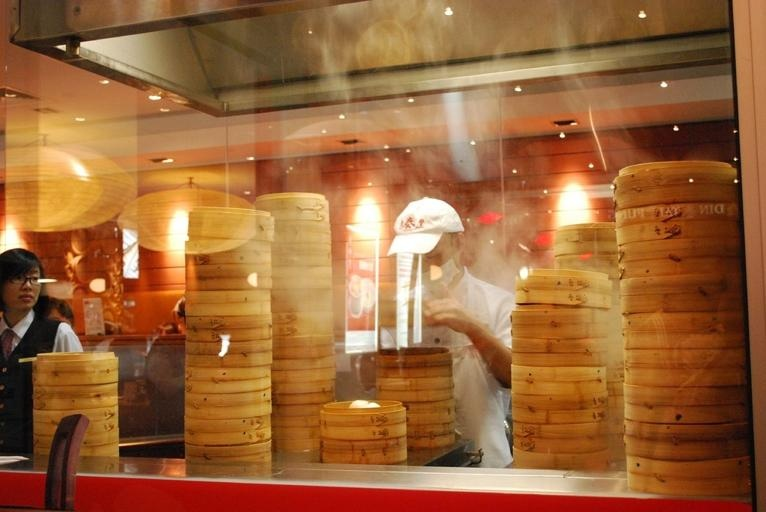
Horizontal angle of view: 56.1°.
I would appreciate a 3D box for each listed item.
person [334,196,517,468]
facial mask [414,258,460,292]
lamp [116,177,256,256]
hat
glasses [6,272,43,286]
[{"bbox_3d":[0.183,0.217,2.058,0.389,0.781,0.107,-6,-5,-2],"label":"person"},{"bbox_3d":[0.158,0.052,2.012,0.125,0.054,0.113,-1,0,0],"label":"facial mask"},{"bbox_3d":[-0.645,-0.121,2.212,0.324,0.133,0.303,1,-1,-17],"label":"lamp"},{"bbox_3d":[0.123,-0.084,2.067,0.166,0.107,0.226,3,13,39],"label":"hat"},{"bbox_3d":[-1.168,0.077,2.330,0.123,0.039,0.013,-5,-4,15],"label":"glasses"}]
